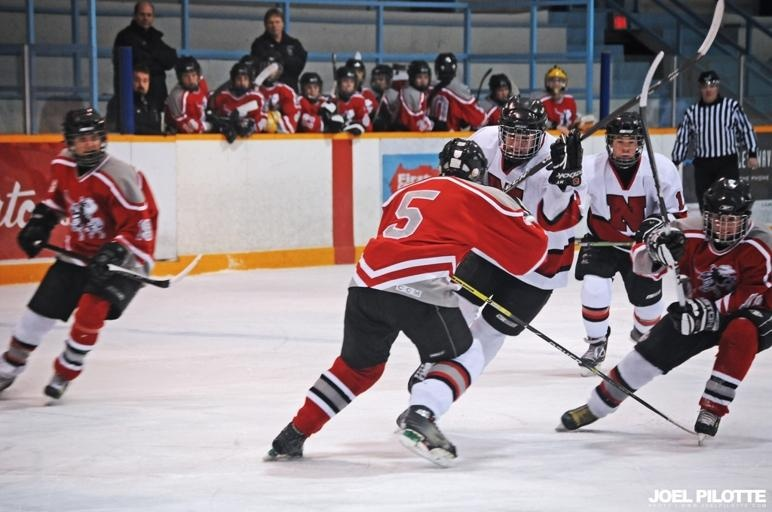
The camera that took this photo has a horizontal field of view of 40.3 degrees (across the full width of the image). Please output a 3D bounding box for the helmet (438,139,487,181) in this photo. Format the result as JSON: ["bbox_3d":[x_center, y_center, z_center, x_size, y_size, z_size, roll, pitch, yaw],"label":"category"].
[{"bbox_3d":[0.431,-0.529,5.600,0.222,0.246,0.244,9,47,11],"label":"helmet"}]

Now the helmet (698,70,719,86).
[{"bbox_3d":[3.320,-1.797,10.775,0.186,0.130,0.263,-1,2,12],"label":"helmet"}]

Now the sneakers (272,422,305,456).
[{"bbox_3d":[-0.505,0.952,5.475,0.153,0.147,0.105,24,23,-48],"label":"sneakers"}]

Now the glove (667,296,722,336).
[{"bbox_3d":[1.664,0.327,5.641,0.265,0.170,0.113,5,16,-6],"label":"glove"}]

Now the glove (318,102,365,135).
[{"bbox_3d":[-0.403,-1.345,10.345,0.385,0.357,0.147,-8,-32,-44],"label":"glove"}]

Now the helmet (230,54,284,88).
[{"bbox_3d":[-1.254,-1.764,10.098,0.313,0.373,0.353,5,8,16],"label":"helmet"}]

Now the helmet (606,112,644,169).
[{"bbox_3d":[1.524,-0.769,6.994,0.277,0.341,0.358,-3,20,18],"label":"helmet"}]

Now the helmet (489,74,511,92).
[{"bbox_3d":[1.201,-1.781,11.037,0.175,0.194,0.202,1,-8,0],"label":"helmet"}]

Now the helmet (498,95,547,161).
[{"bbox_3d":[0.838,-0.787,6.416,0.309,0.358,0.383,6,33,15],"label":"helmet"}]

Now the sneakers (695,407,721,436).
[{"bbox_3d":[1.743,0.895,5.680,0.126,0.145,0.096,3,14,14],"label":"sneakers"}]

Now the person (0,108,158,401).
[{"bbox_3d":[-1.863,-0.009,6.350,0.957,1.685,0.559,-3,14,-12],"label":"person"}]

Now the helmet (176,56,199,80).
[{"bbox_3d":[-1.821,-1.726,9.746,0.207,0.207,0.218,-1,17,-7],"label":"helmet"}]

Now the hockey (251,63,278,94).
[{"bbox_3d":[-1.156,-1.700,10.162,0.272,0.063,0.213,-27,8,21],"label":"hockey"}]

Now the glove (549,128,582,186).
[{"bbox_3d":[1.042,-0.543,5.918,0.249,0.276,0.092,-17,-11,42],"label":"glove"}]

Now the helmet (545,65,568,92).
[{"bbox_3d":[1.801,-1.881,11.208,0.241,0.271,0.309,0,8,6],"label":"helmet"}]

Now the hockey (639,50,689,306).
[{"bbox_3d":[1.559,-0.475,6.099,0.319,1.667,0.132,13,-25,-27],"label":"hockey"}]

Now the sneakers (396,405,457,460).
[{"bbox_3d":[0.201,0.892,5.314,0.324,0.106,0.137,37,32,-2],"label":"sneakers"}]

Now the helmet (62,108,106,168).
[{"bbox_3d":[-1.804,-0.700,6.331,0.280,0.329,0.359,-11,18,-16],"label":"helmet"}]

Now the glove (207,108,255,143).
[{"bbox_3d":[-1.466,-1.226,9.903,0.343,0.337,0.158,-37,-5,2],"label":"glove"}]

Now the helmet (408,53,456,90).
[{"bbox_3d":[0.479,-1.868,10.794,0.574,0.359,0.198,-11,17,-40],"label":"helmet"}]

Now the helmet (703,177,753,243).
[{"bbox_3d":[1.898,-0.237,5.754,0.275,0.326,0.364,0,14,26],"label":"helmet"}]

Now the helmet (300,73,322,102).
[{"bbox_3d":[-0.777,-1.675,10.497,0.228,0.262,0.277,-2,12,-12],"label":"helmet"}]

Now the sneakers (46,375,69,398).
[{"bbox_3d":[-1.961,0.774,6.264,0.078,0.135,0.077,28,-29,11],"label":"sneakers"}]
